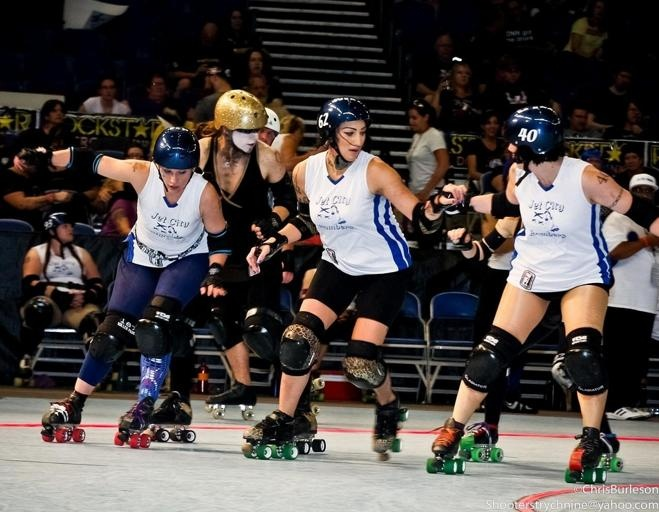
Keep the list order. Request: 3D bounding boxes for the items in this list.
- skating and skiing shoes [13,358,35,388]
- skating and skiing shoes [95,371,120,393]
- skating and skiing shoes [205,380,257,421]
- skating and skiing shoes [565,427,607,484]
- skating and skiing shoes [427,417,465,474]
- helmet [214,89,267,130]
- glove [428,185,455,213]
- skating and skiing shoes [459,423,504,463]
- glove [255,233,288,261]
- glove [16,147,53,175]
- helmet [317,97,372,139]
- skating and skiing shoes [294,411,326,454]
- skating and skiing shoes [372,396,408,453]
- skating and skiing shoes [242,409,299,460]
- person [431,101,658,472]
[{"bbox_3d":[-3.289,1.227,8.290,0.281,0.326,0.130,2,-7,-9],"label":"skating and skiing shoes"},{"bbox_3d":[-2.402,1.365,8.456,0.251,0.251,0.234,0,-10,9],"label":"skating and skiing shoes"},{"bbox_3d":[-0.681,1.065,5.814,0.392,0.259,0.195,-2,-3,22],"label":"skating and skiing shoes"},{"bbox_3d":[1.456,1.084,4.335,0.165,0.272,0.497,-5,-1,36],"label":"skating and skiing shoes"},{"bbox_3d":[0.666,1.070,4.376,0.216,0.261,0.207,8,3,11],"label":"skating and skiing shoes"},{"bbox_3d":[-0.623,-0.989,5.247,0.344,0.212,0.265,21,28,35],"label":"helmet"},{"bbox_3d":[0.623,-0.311,4.364,0.118,0.118,0.086,5,4,-37],"label":"glove"},{"bbox_3d":[0.948,1.179,4.900,0.207,0.169,0.363,-7,-12,37],"label":"skating and skiing shoes"},{"bbox_3d":[-0.341,-0.062,4.905,0.093,0.218,0.127,53,-11,-19],"label":"glove"},{"bbox_3d":[-1.991,-0.641,5.267,0.227,0.152,0.109,8,-3,27],"label":"glove"},{"bbox_3d":[0.052,-0.834,4.707,0.324,0.225,0.267,0,16,-4],"label":"helmet"},{"bbox_3d":[-0.146,1.124,4.937,0.261,0.218,0.155,-17,-10,16],"label":"skating and skiing shoes"},{"bbox_3d":[0.369,1.060,4.812,0.202,0.347,0.203,3,-29,17],"label":"skating and skiing shoes"},{"bbox_3d":[-0.355,1.073,4.661,0.166,0.272,0.513,-6,-16,24],"label":"skating and skiing shoes"},{"bbox_3d":[1.260,0.200,4.434,1.016,1.890,0.620,8,3,13],"label":"person"}]
